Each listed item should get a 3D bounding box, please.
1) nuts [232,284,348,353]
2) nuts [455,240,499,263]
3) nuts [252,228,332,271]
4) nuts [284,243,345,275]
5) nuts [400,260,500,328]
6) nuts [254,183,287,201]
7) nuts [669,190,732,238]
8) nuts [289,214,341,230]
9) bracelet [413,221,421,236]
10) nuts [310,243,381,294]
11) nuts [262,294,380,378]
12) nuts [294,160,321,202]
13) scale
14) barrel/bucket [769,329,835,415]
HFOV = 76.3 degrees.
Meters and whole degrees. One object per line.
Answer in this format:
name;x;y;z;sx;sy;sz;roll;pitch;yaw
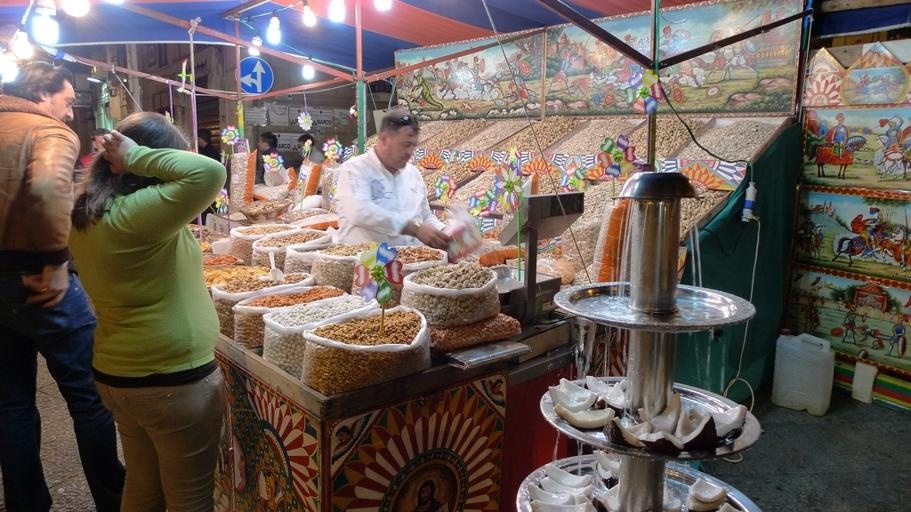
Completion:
nuts;-1.004;0.305;3.417;0.415;0.189;0.496;11;18;36
nuts;0.155;-0.053;4.050;0.173;0.082;0.232;-21;-2;-45
nuts;-1.160;-0.074;4.094;0.335;0.156;0.426;3;12;28
nuts;-0.934;0.009;3.844;0.314;0.271;0.202;-6;7;-31
nuts;-0.034;0.215;3.261;0.456;0.385;0.388;-1;1;-7
nuts;-2.086;-0.728;6.566;0.346;0.100;0.334;8;13;28
nuts;1.935;-0.356;4.618;0.587;0.490;0.473;0;0;12
nuts;-1.198;-0.291;4.952;0.219;0.071;0.210;1;13;30
bracelet;-0.269;-0.188;4.080;0.051;0.089;0.148;-2;13;-8
nuts;-0.734;0.059;3.686;0.419;0.391;0.310;2;2;-11
nuts;-0.758;0.408;3.256;0.420;0.203;0.548;15;19;41
nuts;-1.560;-0.759;6.156;0.198;0.470;0.522;14;8;-29
scale;0.532;-0.012;3.690;0.471;0.797;0.272;-8;17;-30
barrel/bucket;3.055;1.026;5.096;0.464;0.599;0.413;9;16;31
